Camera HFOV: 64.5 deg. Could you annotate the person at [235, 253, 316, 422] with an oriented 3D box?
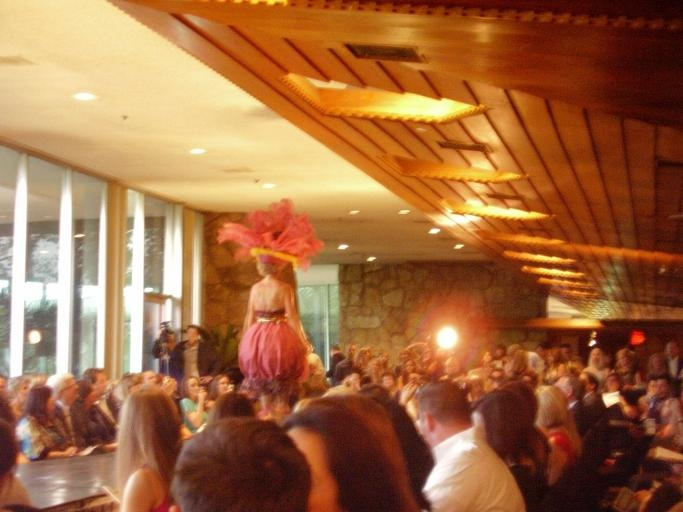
[{"bbox_3d":[-0.330,0.447,2.909,0.413,0.848,0.334,-5,-4,32],"label":"person"}]
